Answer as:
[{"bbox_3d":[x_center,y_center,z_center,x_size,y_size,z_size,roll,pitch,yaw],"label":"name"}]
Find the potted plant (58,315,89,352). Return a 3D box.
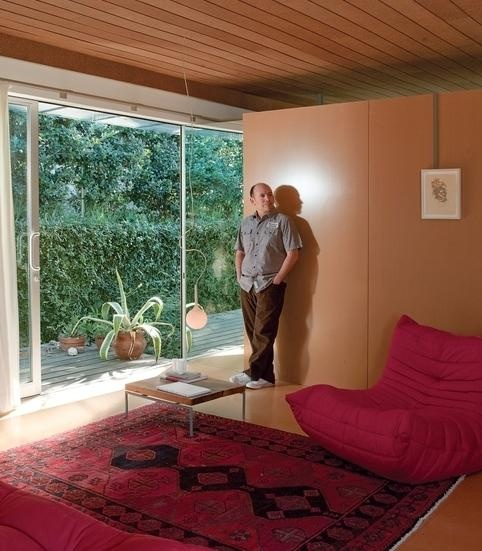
[{"bbox_3d":[-2.082,0.790,6.343,0.497,0.471,0.396,1,0,-1],"label":"potted plant"}]

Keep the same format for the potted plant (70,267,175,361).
[{"bbox_3d":[-1.505,0.460,5.947,1.266,0.946,1.282,0,-2,4],"label":"potted plant"}]

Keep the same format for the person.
[{"bbox_3d":[0.176,0.099,4.491,0.388,1.916,0.772,0,0,-37],"label":"person"}]

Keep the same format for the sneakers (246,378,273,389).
[{"bbox_3d":[0.186,1.019,4.491,0.250,0.086,0.093,2,0,-29],"label":"sneakers"}]

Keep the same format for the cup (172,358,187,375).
[{"bbox_3d":[-0.483,0.683,3.587,0.155,0.115,0.105,0,-3,16],"label":"cup"}]
